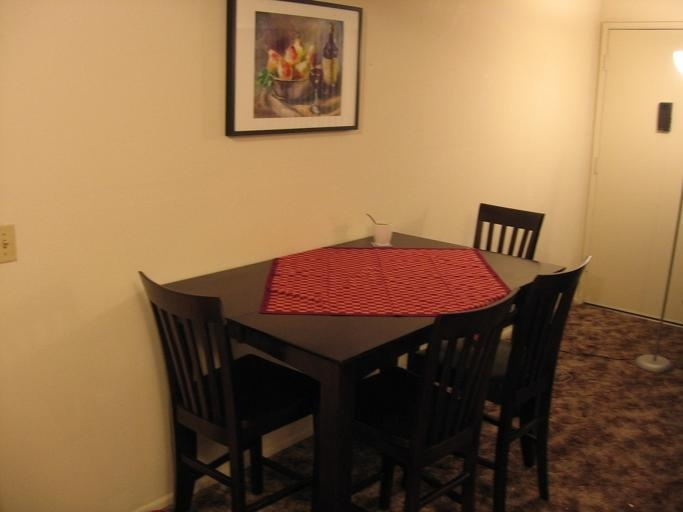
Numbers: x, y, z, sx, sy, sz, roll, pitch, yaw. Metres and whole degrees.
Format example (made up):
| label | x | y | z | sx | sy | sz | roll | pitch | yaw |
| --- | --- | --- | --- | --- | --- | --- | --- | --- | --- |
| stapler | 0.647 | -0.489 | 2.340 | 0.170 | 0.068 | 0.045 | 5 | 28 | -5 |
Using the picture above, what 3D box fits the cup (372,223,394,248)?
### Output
| label | x | y | z | sx | sy | sz | roll | pitch | yaw |
| --- | --- | --- | --- | --- | --- | --- | --- | --- | --- |
| cup | 0.215 | -0.108 | 3.090 | 0.123 | 0.125 | 0.115 | 0 | 6 | 0 |
